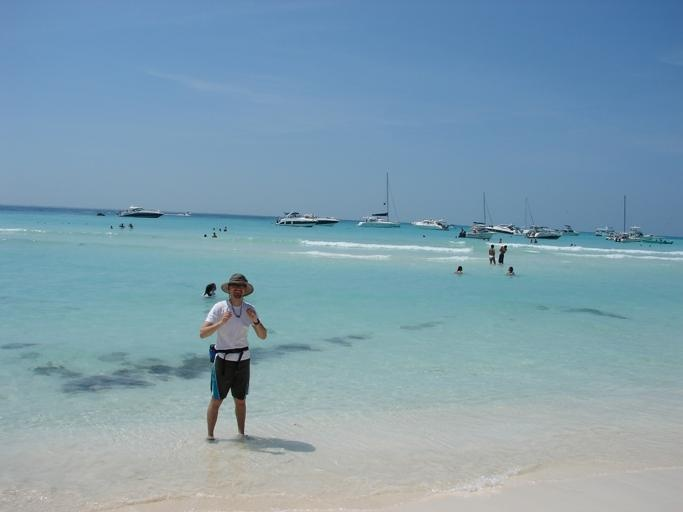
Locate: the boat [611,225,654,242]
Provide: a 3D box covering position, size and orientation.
[{"bbox_3d":[49.523,-3.568,109.030,8.072,1.900,4.810,-6,13,-35],"label":"boat"}]

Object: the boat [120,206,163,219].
[{"bbox_3d":[-40.762,-8.854,129.759,7.094,3.284,7.465,-3,12,-20],"label":"boat"}]

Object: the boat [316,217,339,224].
[{"bbox_3d":[-2.675,-6.837,125.137,3.318,1.910,5.476,3,11,7],"label":"boat"}]

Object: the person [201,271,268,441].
[{"bbox_3d":[-1.780,1.788,10.419,0.933,3.047,0.704,0,13,-7],"label":"person"}]

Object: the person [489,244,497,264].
[{"bbox_3d":[9.933,-0.061,41.298,0.371,1.299,1.937,4,12,12],"label":"person"}]

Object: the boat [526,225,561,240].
[{"bbox_3d":[32.887,-3.720,102.618,4.743,2.574,7.379,6,12,21],"label":"boat"}]

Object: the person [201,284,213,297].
[{"bbox_3d":[-4.645,1.187,22.596,0.297,0.374,0.888,8,13,-8],"label":"person"}]

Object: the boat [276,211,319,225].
[{"bbox_3d":[-8.145,-6.702,121.709,6.530,2.018,4.983,4,11,15],"label":"boat"}]

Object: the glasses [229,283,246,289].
[{"bbox_3d":[-1.618,0.467,10.137,0.264,0.102,0.097,0,12,-8],"label":"glasses"}]

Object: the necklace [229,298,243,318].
[{"bbox_3d":[-1.665,0.837,10.139,0.248,0.290,0.085,0,-7,-15],"label":"necklace"}]
